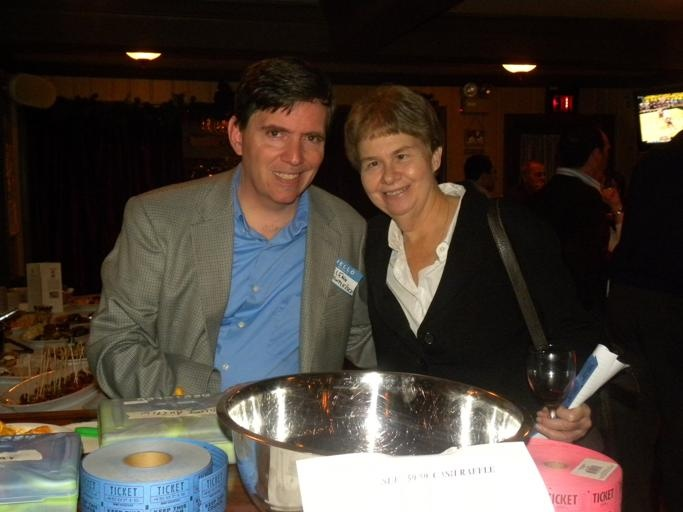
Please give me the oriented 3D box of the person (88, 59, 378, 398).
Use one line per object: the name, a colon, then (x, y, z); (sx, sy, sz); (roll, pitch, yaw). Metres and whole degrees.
person: (-0.384, -0.113, 2.093); (1.044, 1.200, 0.522); (-6, 7, -39)
